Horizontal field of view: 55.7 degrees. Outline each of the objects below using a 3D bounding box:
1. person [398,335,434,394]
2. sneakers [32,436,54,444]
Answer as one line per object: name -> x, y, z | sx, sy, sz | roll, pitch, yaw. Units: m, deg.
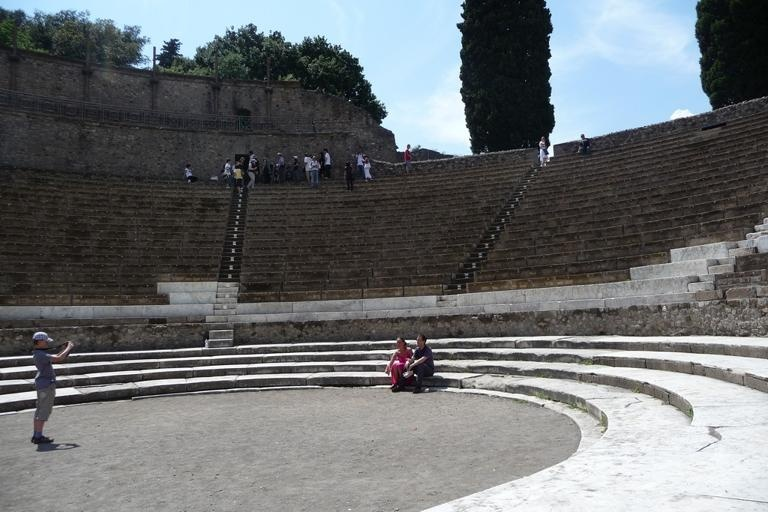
person -> 0.784, 2.651, 17.478 | 0.903, 1.326, 0.622 | 22, -36, -24
sneakers -> -6.973, 3.724, 14.798 | 0.418, 0.175, 0.162 | -3, 1, -10
